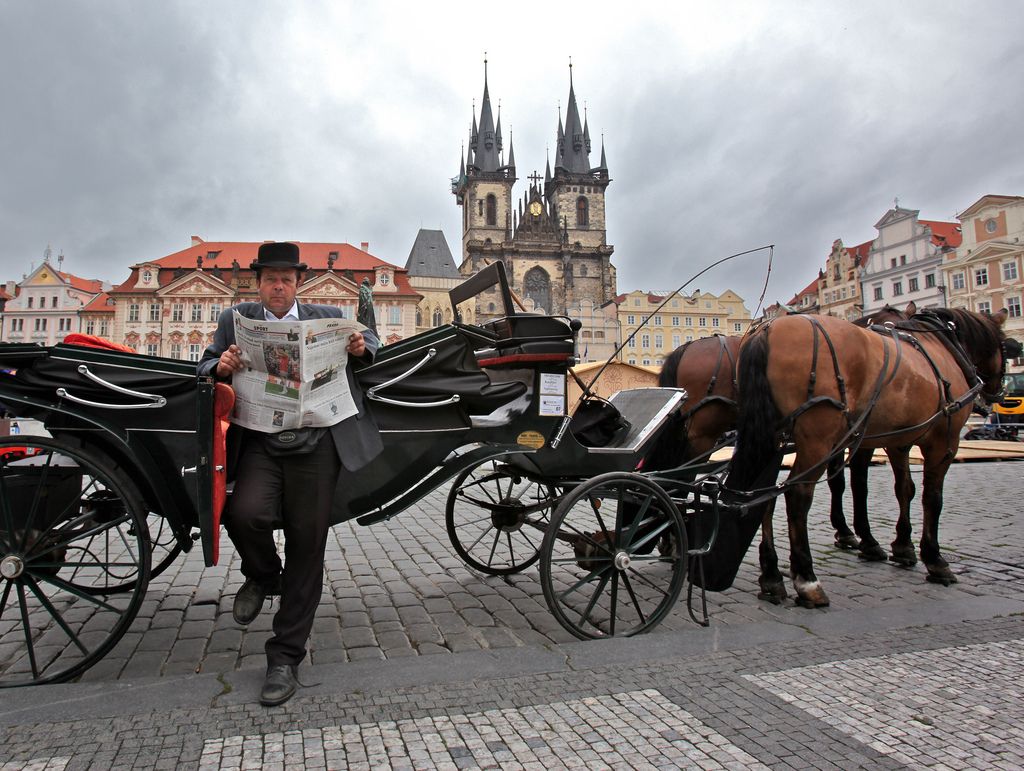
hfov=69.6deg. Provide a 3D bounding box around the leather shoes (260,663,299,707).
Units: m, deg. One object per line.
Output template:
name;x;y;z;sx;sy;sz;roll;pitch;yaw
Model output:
leather shoes;-1.179;1.540;3.786;0.150;0.158;0.289;0;3;0

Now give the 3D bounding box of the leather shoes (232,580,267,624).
leather shoes;-1.535;1.309;4.319;0.123;0.126;0.361;34;0;-21

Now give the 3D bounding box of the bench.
bench;-0.002;-0.390;4.990;0.686;0.702;1.137;-2;1;-19

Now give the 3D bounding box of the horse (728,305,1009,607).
horse;2.962;0.648;6.126;2.803;1.992;0.868;4;-8;-25

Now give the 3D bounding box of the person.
person;-1.299;0.424;4.117;0.827;2.417;0.855;2;3;31
